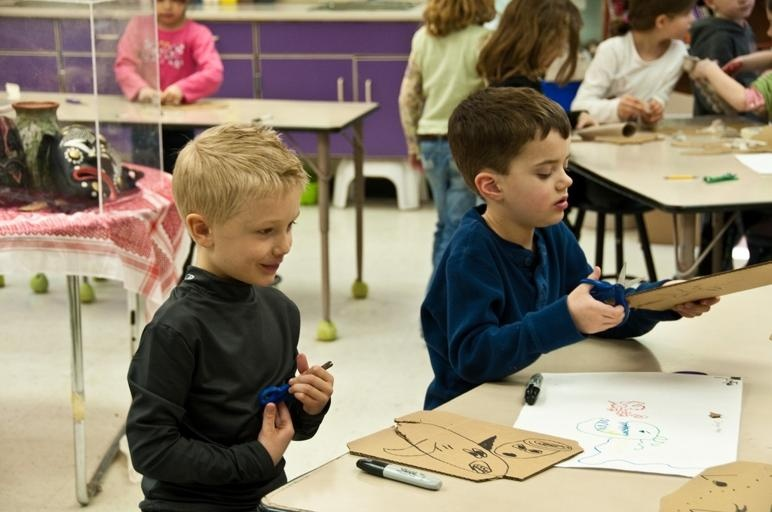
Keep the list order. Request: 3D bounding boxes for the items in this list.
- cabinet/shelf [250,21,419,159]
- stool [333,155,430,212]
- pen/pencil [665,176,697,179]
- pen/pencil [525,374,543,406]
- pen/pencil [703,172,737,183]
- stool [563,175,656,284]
[{"bbox_3d":[-0.278,-1.414,5.233,1.247,0.880,0.659,-2,43,-8],"label":"cabinet/shelf"},{"bbox_3d":[-0.046,-0.515,5.082,0.423,0.223,0.438,5,23,8],"label":"stool"},{"bbox_3d":[0.994,-0.264,2.551,0.103,0.012,0.011,-1,9,-5],"label":"pen/pencil"},{"bbox_3d":[0.283,0.259,1.445,0.021,0.025,0.072,-1,25,22],"label":"pen/pencil"},{"bbox_3d":[1.122,-0.261,2.534,0.080,0.028,0.024,-17,2,-22],"label":"pen/pencil"},{"bbox_3d":[0.894,-0.101,2.984,0.252,0.383,0.265,-5,32,-3],"label":"stool"}]
